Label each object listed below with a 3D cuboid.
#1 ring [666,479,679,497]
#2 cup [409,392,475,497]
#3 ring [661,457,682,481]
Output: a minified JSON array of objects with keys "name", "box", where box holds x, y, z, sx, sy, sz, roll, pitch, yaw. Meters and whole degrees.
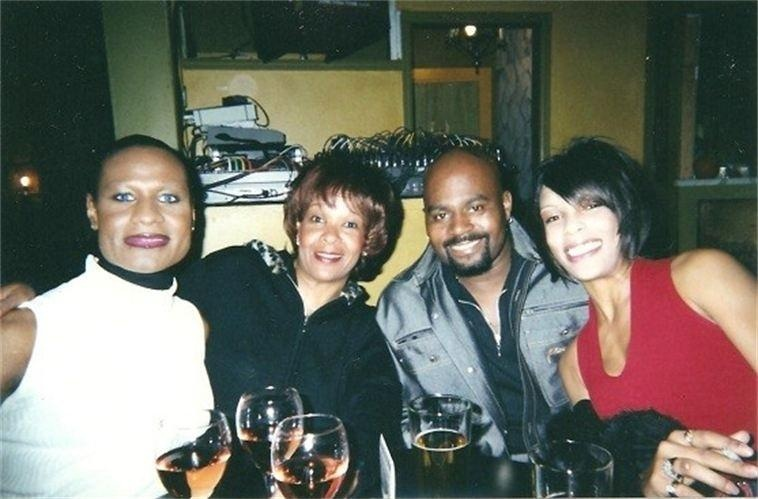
[{"name":"ring","box":[1.250,1.011,2.947,0.021,0.057,0.045,20,-24,-32]},{"name":"cup","box":[0.276,0.849,3.069,0.273,0.375,0.308,-2,6,3]},{"name":"ring","box":[1.242,0.933,2.952,0.034,0.064,0.087,9,31,-43]}]
